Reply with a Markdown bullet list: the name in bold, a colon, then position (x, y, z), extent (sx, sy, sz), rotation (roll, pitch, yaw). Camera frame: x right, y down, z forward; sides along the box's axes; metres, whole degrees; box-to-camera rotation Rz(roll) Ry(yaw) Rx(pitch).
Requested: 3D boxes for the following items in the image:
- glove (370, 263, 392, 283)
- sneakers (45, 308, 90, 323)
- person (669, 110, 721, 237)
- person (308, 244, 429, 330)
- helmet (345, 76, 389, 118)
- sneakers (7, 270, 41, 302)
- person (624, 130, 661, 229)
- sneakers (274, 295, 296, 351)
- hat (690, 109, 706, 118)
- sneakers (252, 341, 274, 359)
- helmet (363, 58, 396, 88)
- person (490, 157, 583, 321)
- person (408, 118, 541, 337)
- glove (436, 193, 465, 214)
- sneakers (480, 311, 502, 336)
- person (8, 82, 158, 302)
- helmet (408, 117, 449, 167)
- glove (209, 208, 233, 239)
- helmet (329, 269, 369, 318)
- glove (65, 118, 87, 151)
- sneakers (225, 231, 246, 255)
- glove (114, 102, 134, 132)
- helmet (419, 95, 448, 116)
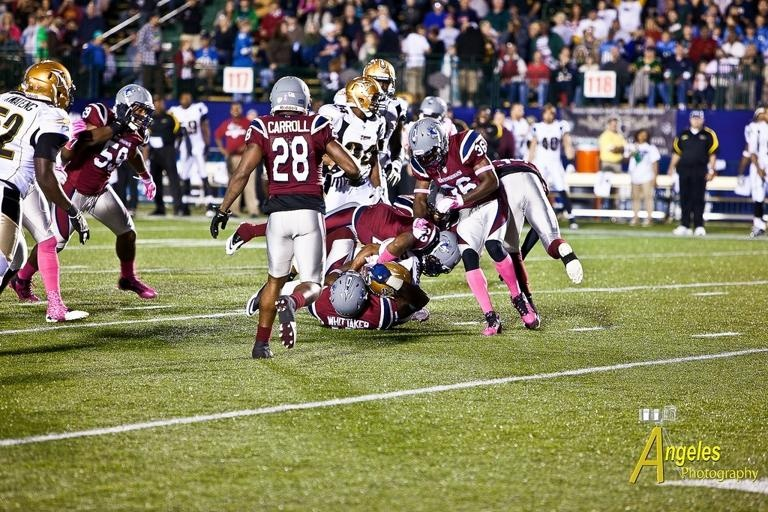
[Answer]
- **glove**: position (-0.028, 0.153, 8.689), extent (0.151, 0.059, 0.150), rotation (33, 61, 14)
- **sneakers**: position (-2.746, 0.529, 8.991), extent (0.356, 0.145, 0.135), rotation (-4, 9, -7)
- **person**: position (5.067, -1.309, 16.927), extent (0.656, 1.984, 0.662), rotation (4, 9, 16)
- **person**: position (-0.047, 0.348, 9.032), extent (0.697, 0.392, 0.926), rotation (24, 13, 12)
- **helmet**: position (-0.173, -1.480, 9.807), extent (0.382, 0.345, 0.310), rotation (-4, 15, -8)
- **sneakers**: position (-3.436, 0.296, 9.831), extent (0.142, 0.331, 0.116), rotation (-29, 14, 38)
- **person**: position (4.560, -1.336, 18.327), extent (0.550, 1.715, 0.703), rotation (3, 9, 14)
- **sneakers**: position (-0.715, 0.510, 7.764), extent (0.142, 0.371, 0.170), rotation (-7, -4, 10)
- **hat**: position (5.062, -2.250, 16.725), extent (0.265, 0.167, 0.432), rotation (5, 8, 19)
- **sneakers**: position (-0.919, 0.713, 7.857), extent (0.097, 0.100, 0.152), rotation (6, 8, 23)
- **helmet**: position (-0.048, -1.810, 10.380), extent (0.308, 0.249, 0.232), rotation (2, 18, 0)
- **person**: position (1.354, -0.042, 9.578), extent (0.881, 0.579, 1.472), rotation (-6, 15, 13)
- **person**: position (0.719, -0.208, 8.978), extent (0.976, 1.921, 0.714), rotation (-20, 6, -38)
- **glove**: position (0.560, -0.433, 8.837), extent (0.247, 0.165, 0.223), rotation (1, 9, -3)
- **sneakers**: position (0.917, 0.563, 8.774), extent (0.158, 0.193, 0.198), rotation (2, 9, 6)
- **person**: position (-2.647, -0.583, 9.720), extent (1.363, 2.114, 1.169), rotation (-3, 16, -37)
- **helmet**: position (0.354, -0.973, 8.848), extent (0.338, 0.417, 0.467), rotation (-7, 6, 29)
- **glove**: position (-1.736, -0.316, 11.046), extent (0.190, 0.249, 0.465), rotation (3, -16, -15)
- **helmet**: position (-0.272, 0.317, 8.689), extent (0.306, 0.355, 0.315), rotation (8, 15, 1)
- **glove**: position (-2.658, -1.002, 8.818), extent (0.098, 0.289, 0.226), rotation (21, 24, -38)
- **sneakers**: position (-1.278, -0.087, 8.873), extent (0.104, 0.127, 0.286), rotation (37, 12, -15)
- **glove**: position (-2.376, -1.243, 9.400), extent (0.139, 0.228, 0.427), rotation (-1, 9, -14)
- **helmet**: position (0.537, -1.628, 11.452), extent (0.203, 0.221, 0.276), rotation (9, 28, 12)
